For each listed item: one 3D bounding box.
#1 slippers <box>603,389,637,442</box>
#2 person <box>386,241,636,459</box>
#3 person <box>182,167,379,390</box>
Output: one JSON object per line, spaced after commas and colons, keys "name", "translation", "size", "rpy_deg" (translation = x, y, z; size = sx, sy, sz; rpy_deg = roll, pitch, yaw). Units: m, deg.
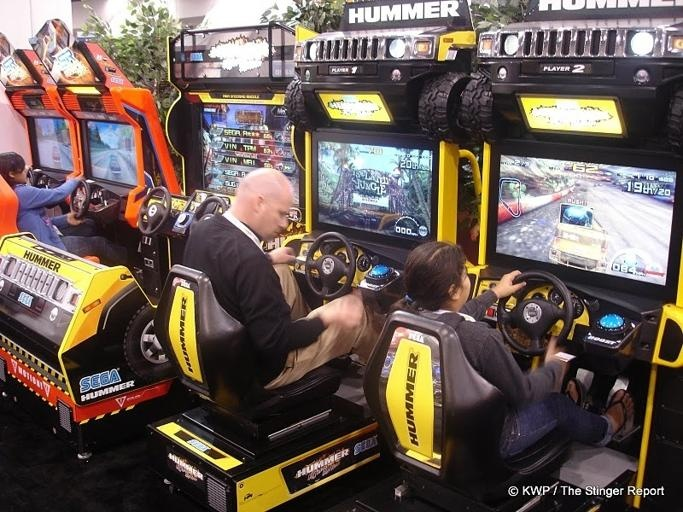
{"name": "slippers", "translation": [1.518, 0.799, 2.511], "size": [0.121, 0.368, 0.093], "rpy_deg": [7, -8, 35]}
{"name": "person", "translation": [0.780, 0.402, 2.436], "size": [1.297, 1.053, 0.830], "rpy_deg": [-7, 12, -30]}
{"name": "person", "translation": [-0.211, 0.191, 2.935], "size": [1.372, 1.333, 0.889], "rpy_deg": [-9, 20, -41]}
